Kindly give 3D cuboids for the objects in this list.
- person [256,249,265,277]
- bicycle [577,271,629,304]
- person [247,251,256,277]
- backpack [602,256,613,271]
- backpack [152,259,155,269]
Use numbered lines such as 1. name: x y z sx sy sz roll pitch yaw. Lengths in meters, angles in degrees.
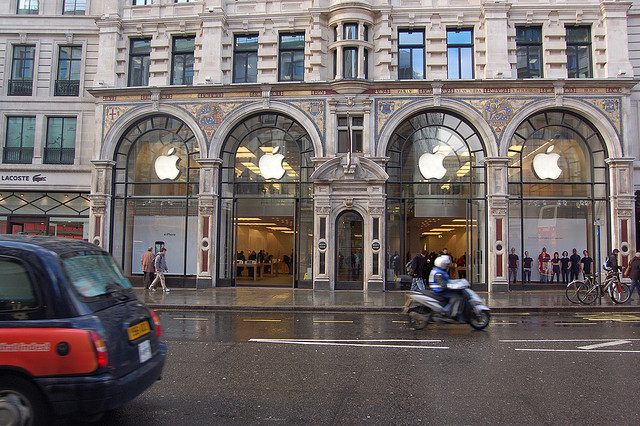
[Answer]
1. person: -3.416 2.822 40.629 0.227 1.527 0.700 0 -2 15
2. bicycle: 11.873 3.147 30.078 2.263 1.341 1.109 -1 -4 2
3. person: -3.793 2.785 39.357 0.364 1.352 0.886 0 -2 -3
4. backpack: 12.539 2.256 31.168 0.329 0.817 0.590 -8 5 15
5. backpack: -7.931 2.385 34.010 0.094 0.250 0.258 4 -1 -23
